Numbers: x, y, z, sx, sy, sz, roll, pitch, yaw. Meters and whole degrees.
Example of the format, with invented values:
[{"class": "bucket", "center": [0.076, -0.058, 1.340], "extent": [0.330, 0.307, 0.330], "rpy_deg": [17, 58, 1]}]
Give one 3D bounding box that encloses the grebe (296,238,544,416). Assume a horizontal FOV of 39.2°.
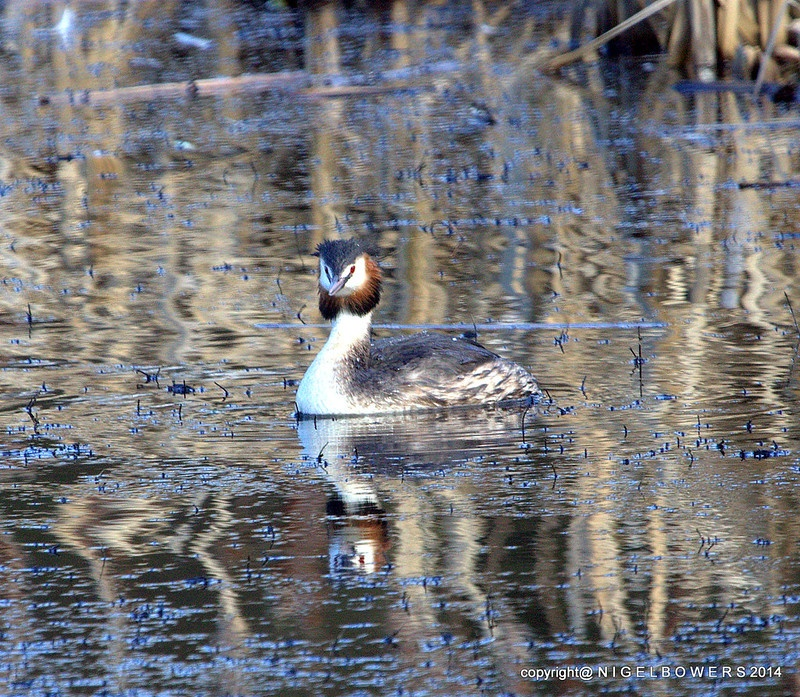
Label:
[{"class": "grebe", "center": [-0.036, -0.227, 10.534], "extent": [2.128, 1.605, 0.555], "rpy_deg": [-2, 0, -20]}]
